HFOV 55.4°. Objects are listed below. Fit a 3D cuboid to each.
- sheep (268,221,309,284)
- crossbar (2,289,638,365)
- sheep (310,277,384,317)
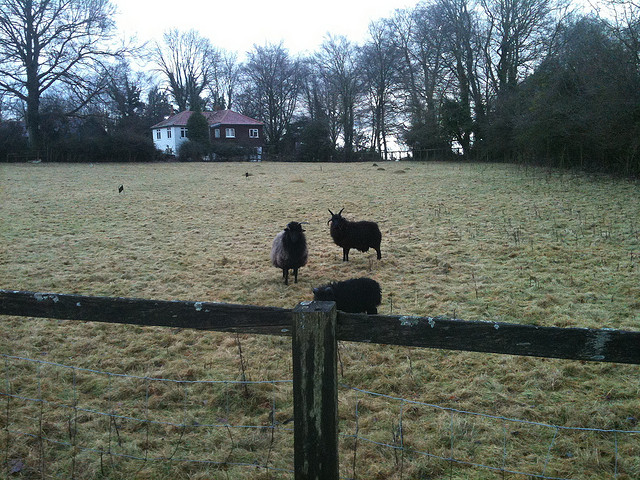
[{"bbox_3d":[-0.688,0.207,12.130,0.688,1.109,0.685,6,15,29],"label":"sheep"},{"bbox_3d":[0.004,0.969,6.710,6.703,0.670,0.260,0,13,7],"label":"crossbar"},{"bbox_3d":[0.476,1.005,9.882,1.261,0.721,0.453,-5,-5,-31],"label":"sheep"}]
